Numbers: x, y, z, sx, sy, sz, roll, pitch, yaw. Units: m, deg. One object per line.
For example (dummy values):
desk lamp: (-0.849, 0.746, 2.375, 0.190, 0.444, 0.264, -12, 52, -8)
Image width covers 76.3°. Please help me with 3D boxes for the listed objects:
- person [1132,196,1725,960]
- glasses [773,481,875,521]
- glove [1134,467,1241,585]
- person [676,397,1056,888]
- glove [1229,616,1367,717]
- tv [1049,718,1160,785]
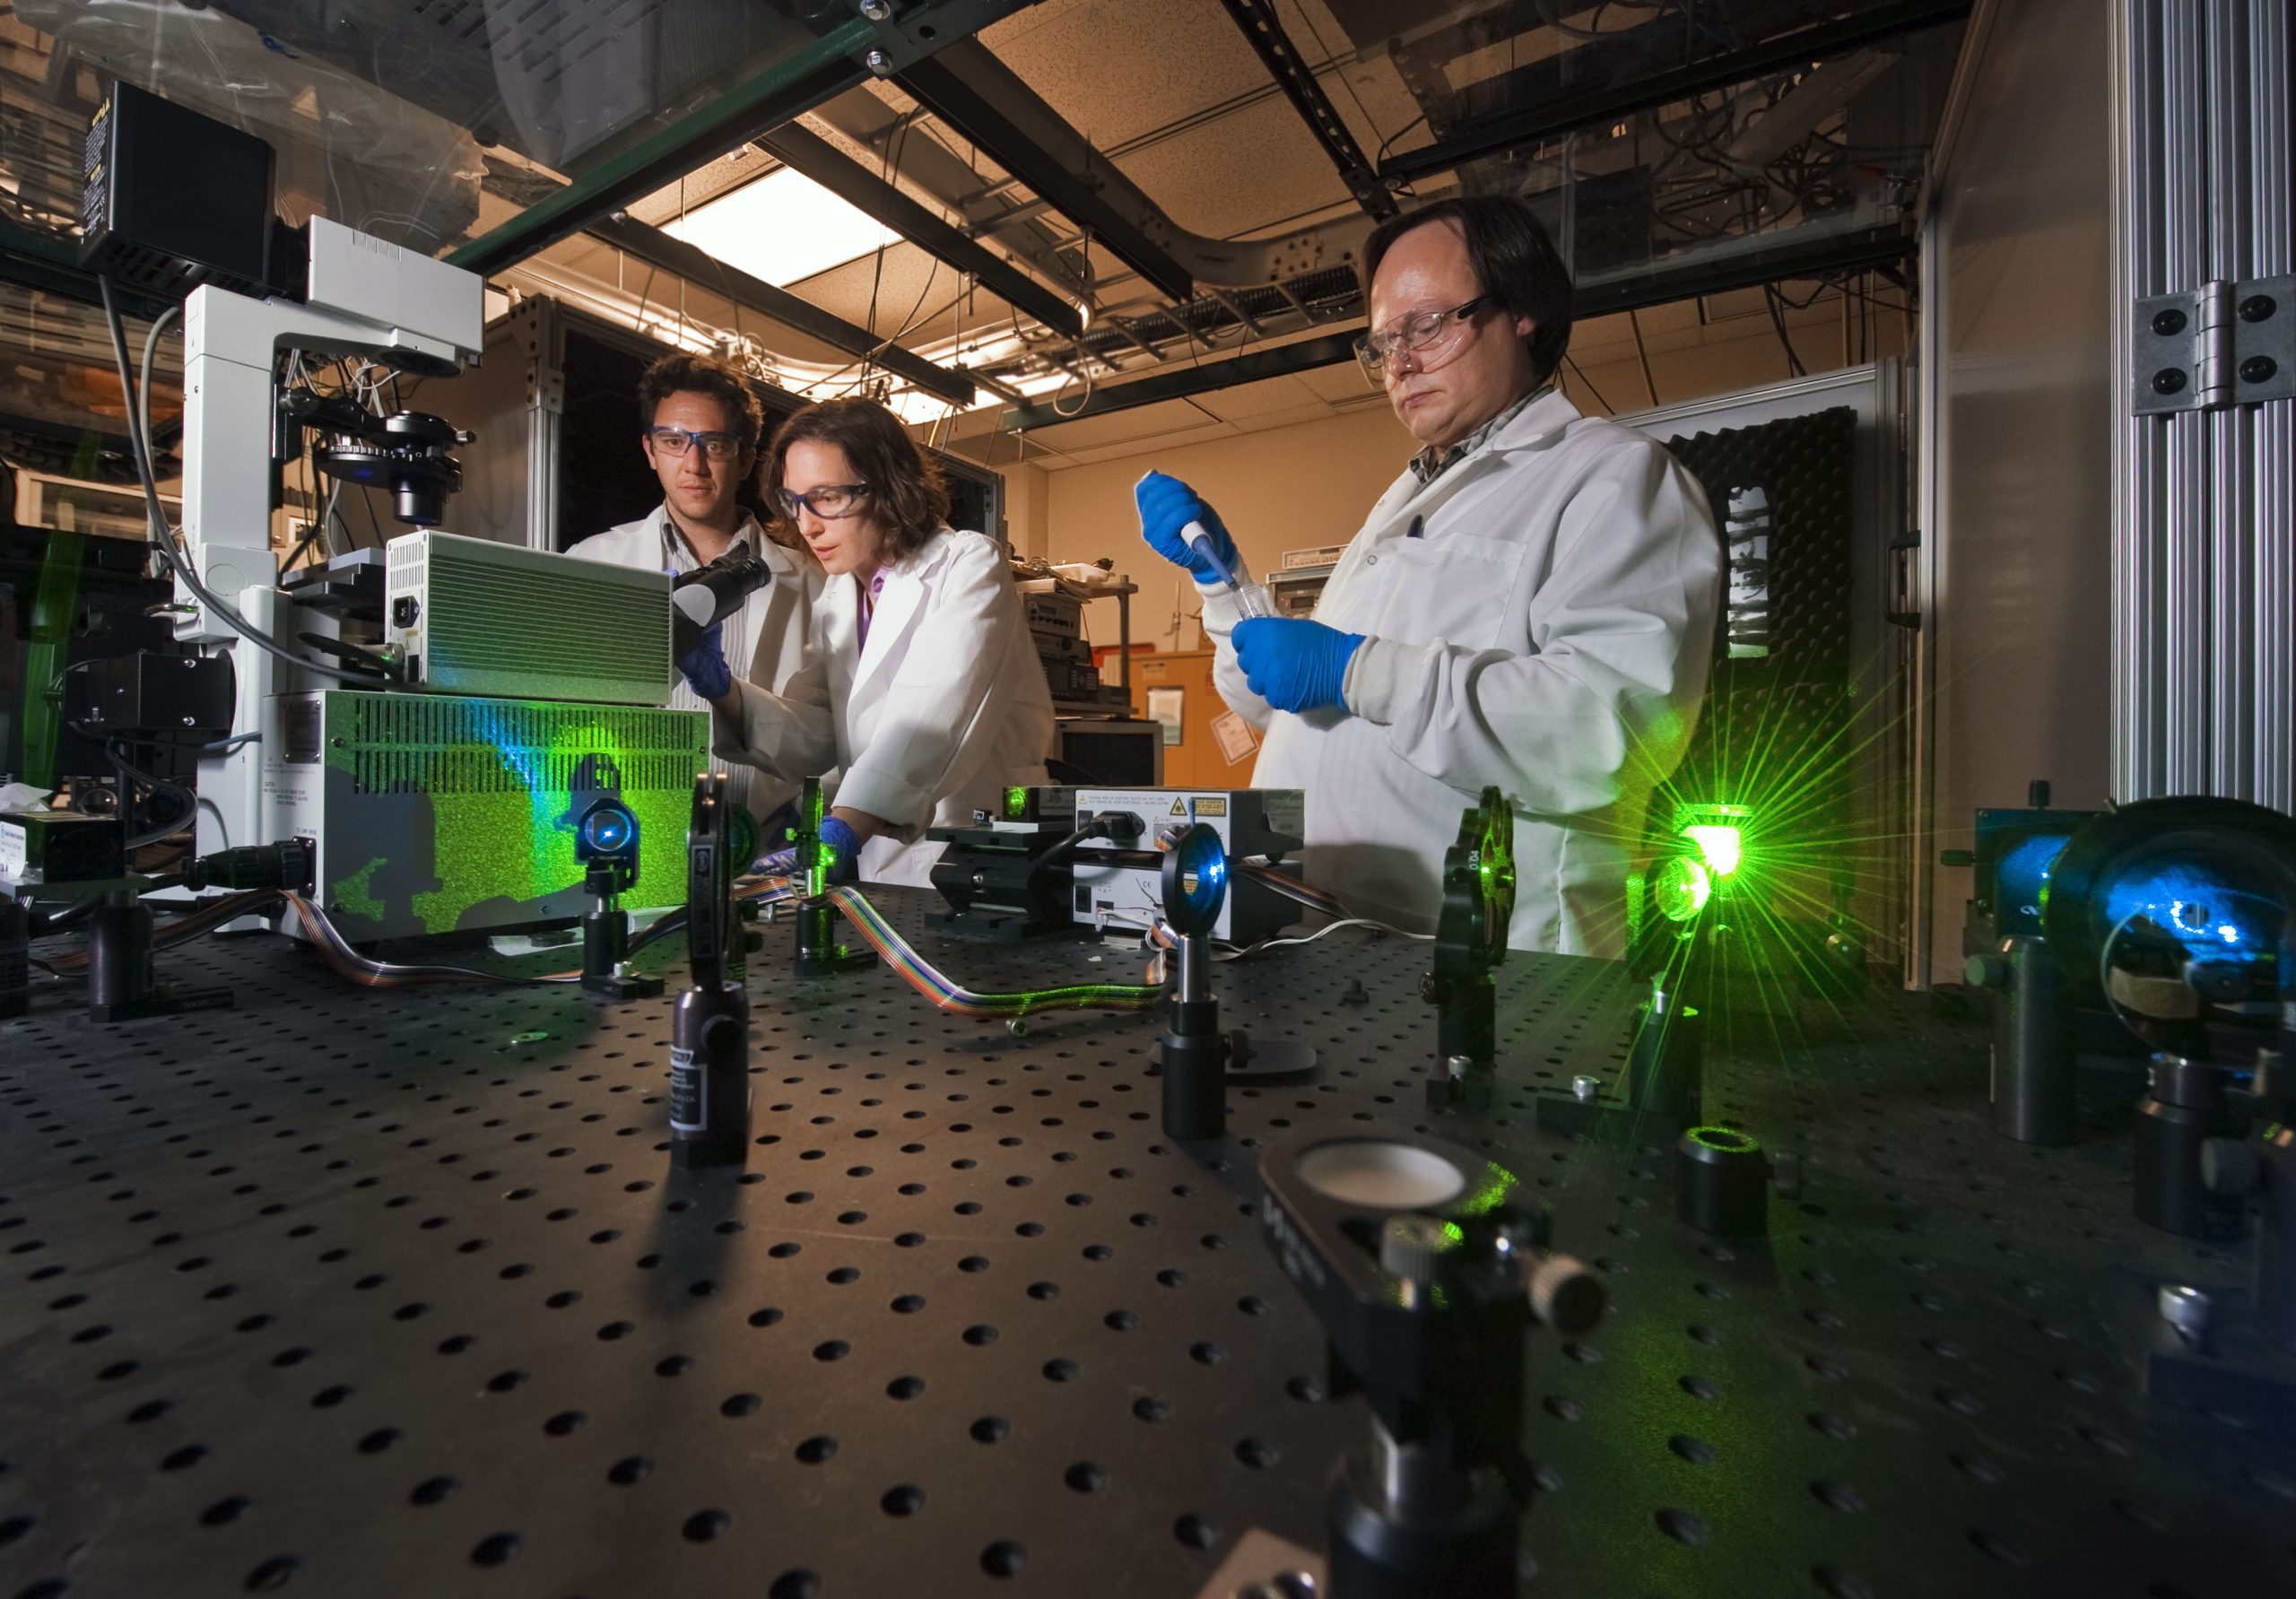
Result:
person: (0.502, -0.396, 2.515, 0.900, 1.289, 0.599, 0, 0, 25)
glasses: (-0.713, -0.631, 3.123, 0.235, 0.071, 0.094, 1, 1, 36)
glove: (0.053, -0.472, 2.538, 0.246, 0.098, 0.131, 35, -11, 39)
person: (-0.575, -0.338, 3.027, 0.673, 1.042, 0.934, 0, 0, -1)
glove: (0.235, -0.221, 2.368, 0.183, 0.071, 0.136, 13, -29, 38)
tv: (-0.138, -0.153, 4.882, 0.368, 0.252, 0.200, 0, -2, -40)
